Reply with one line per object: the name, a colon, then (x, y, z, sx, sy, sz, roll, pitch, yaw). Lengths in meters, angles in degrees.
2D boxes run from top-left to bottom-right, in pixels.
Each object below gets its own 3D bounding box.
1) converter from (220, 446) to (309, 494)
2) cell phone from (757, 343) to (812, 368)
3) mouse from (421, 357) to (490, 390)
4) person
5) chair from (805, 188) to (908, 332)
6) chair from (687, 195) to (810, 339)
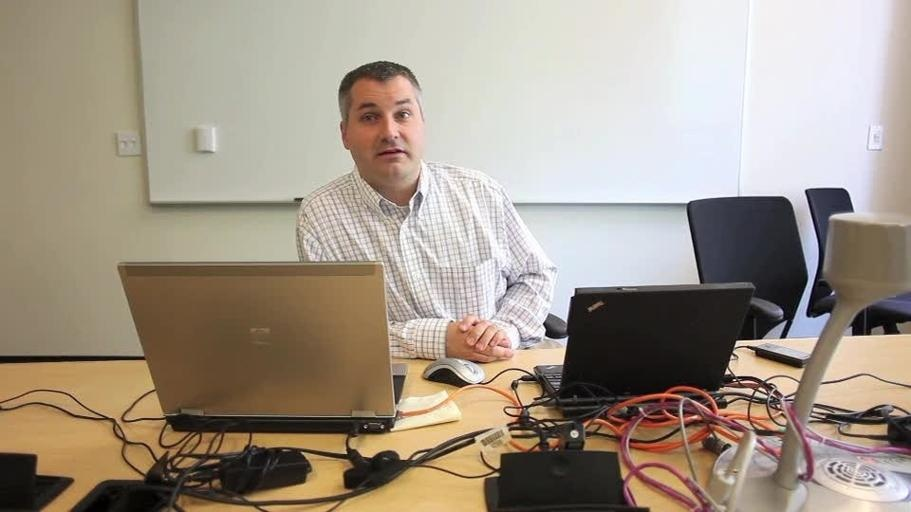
converter: (-0.741, 0.832, 2.474, 0.330, 0.158, 0.070, -3, 9, -6)
cell phone: (1.485, 0.441, 2.897, 0.170, 0.031, 0.103, 11, 15, 40)
mouse: (-0.006, 0.514, 2.775, 0.222, 0.071, 0.130, -2, 2, 20)
person: (-0.169, -0.148, 3.247, 1.413, 1.548, 1.111, -7, 12, -5)
chair: (2.541, 0.022, 4.050, 0.569, 0.899, 1.192, 2, 9, 27)
chair: (1.594, 0.041, 3.469, 0.514, 0.927, 1.365, 3, 1, 13)
